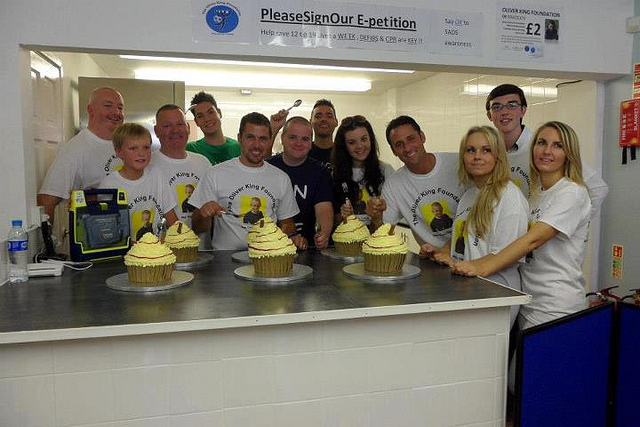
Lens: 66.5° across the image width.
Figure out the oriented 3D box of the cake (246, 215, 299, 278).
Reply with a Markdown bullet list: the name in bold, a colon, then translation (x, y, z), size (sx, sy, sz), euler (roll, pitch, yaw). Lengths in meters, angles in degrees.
- **cake**: translation (-0.252, 0.174, 2.545), size (0.250, 0.320, 0.295), euler (-3, -2, -14)

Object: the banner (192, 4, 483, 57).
- **banner**: translation (0.169, -1.227, 3.298), size (2.018, 0.369, 0.027), euler (-5, 6, -10)

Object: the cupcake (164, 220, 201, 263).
- **cupcake**: translation (-0.774, 0.165, 2.862), size (0.167, 0.199, 0.168), euler (-13, 9, -44)

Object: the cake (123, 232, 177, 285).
- **cake**: translation (-0.867, 0.212, 2.476), size (0.227, 0.227, 0.235), euler (3, 5, -21)

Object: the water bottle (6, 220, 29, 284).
- **water bottle**: translation (-1.581, 0.194, 2.531), size (0.105, 0.309, 0.230), euler (-7, 7, -32)

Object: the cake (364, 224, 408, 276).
- **cake**: translation (0.369, 0.197, 2.723), size (0.229, 0.228, 0.254), euler (0, 1, -5)

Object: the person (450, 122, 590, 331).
- **person**: translation (1.293, 0.100, 2.808), size (0.615, 1.238, 0.342), euler (-9, 8, -44)

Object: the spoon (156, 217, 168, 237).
- **spoon**: translation (-0.949, 0.077, 2.918), size (0.044, 0.078, 0.194), euler (-3, -24, -24)

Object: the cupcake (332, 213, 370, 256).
- **cupcake**: translation (0.187, 0.140, 2.971), size (0.230, 0.295, 0.160), euler (0, -17, 1)

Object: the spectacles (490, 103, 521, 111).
- **spectacles**: translation (1.482, -0.846, 3.889), size (0.187, 0.052, 0.051), euler (-1, 6, 21)

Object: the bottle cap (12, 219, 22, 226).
- **bottle cap**: translation (-1.588, 0.044, 2.561), size (0.053, 0.035, 0.053), euler (0, 2, -32)
